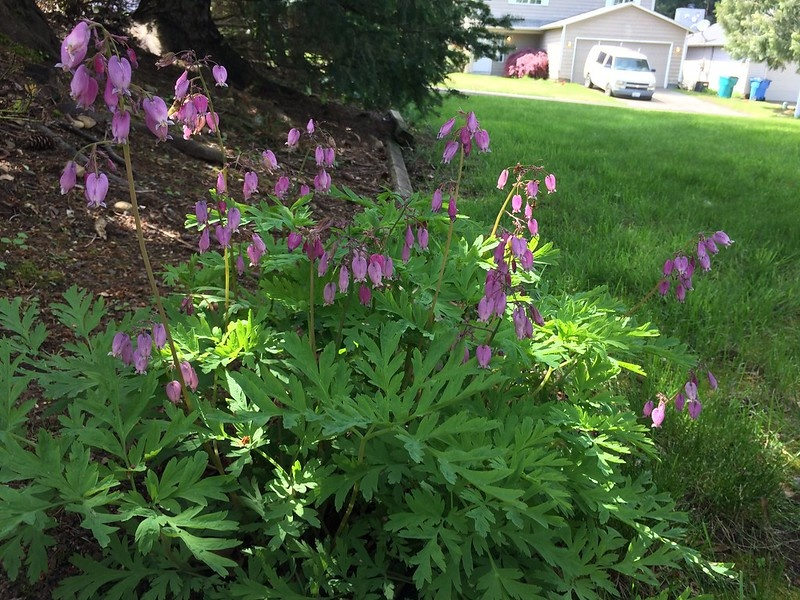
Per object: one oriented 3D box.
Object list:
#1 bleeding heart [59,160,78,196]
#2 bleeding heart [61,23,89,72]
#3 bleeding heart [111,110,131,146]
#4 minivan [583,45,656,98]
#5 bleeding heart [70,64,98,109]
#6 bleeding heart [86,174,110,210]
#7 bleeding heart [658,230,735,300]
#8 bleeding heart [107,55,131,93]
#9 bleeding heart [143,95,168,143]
[{"bbox_3d":[-1.528,-0.561,3.012,0.060,0.213,0.348,-3,22,-27],"label":"bleeding heart"},{"bbox_3d":[-1.352,-1.054,2.732,0.109,0.206,0.235,-2,21,-26],"label":"bleeding heart"},{"bbox_3d":[-1.193,-0.729,2.793,0.061,0.145,0.135,-1,21,-22],"label":"bleeding heart"},{"bbox_3d":[9.642,-9.992,28.687,1.520,2.119,5.293,6,20,-4],"label":"minivan"},{"bbox_3d":[-1.336,-0.896,2.771,0.093,0.190,0.225,-2,21,-26],"label":"bleeding heart"},{"bbox_3d":[-1.378,-0.496,2.965,0.086,0.196,0.266,-2,22,-25],"label":"bleeding heart"},{"bbox_3d":[1.780,-0.210,3.978,0.305,0.467,0.441,16,21,25],"label":"bleeding heart"},{"bbox_3d":[-1.179,-0.941,2.741,0.086,0.142,0.131,-3,21,-26],"label":"bleeding heart"},{"bbox_3d":[-1.083,-0.799,2.882,0.098,0.191,0.196,-1,21,-23],"label":"bleeding heart"}]
